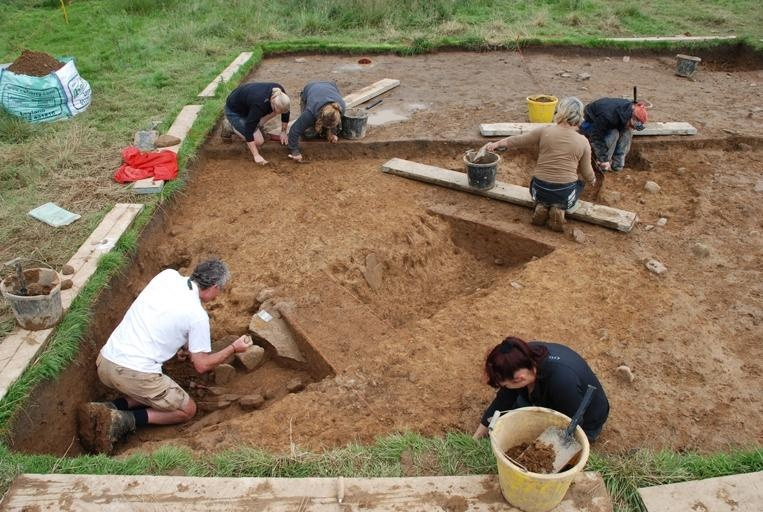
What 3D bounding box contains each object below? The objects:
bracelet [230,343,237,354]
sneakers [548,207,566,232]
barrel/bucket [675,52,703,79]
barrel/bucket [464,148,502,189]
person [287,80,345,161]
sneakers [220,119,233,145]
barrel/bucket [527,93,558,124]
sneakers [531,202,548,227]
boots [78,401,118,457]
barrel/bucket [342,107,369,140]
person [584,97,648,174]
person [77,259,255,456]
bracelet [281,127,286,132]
[{"bbox_3d":[-1.621,1.016,6.457,0.068,0.084,0.064,-15,14,6],"label":"bracelet"},{"bbox_3d":[2.266,-0.469,7.632,0.197,0.319,0.169,2,13,29],"label":"sneakers"},{"bbox_3d":[6.033,-3.731,11.628,0.401,0.505,0.720,14,48,21],"label":"barrel/bucket"},{"bbox_3d":[1.362,-1.172,8.137,0.503,0.447,0.516,-5,36,3],"label":"barrel/bucket"},{"bbox_3d":[-1.006,-2.064,8.709,0.826,0.620,1.249,-7,50,-14],"label":"person"},{"bbox_3d":[-2.342,-1.872,8.909,0.163,0.189,0.435,0,75,-24],"label":"sneakers"},{"bbox_3d":[2.583,-2.332,9.590,0.560,0.419,0.563,-2,38,2],"label":"barrel/bucket"},{"bbox_3d":[2.086,-0.549,7.744,0.171,0.282,0.099,9,59,1],"label":"sneakers"},{"bbox_3d":[-2.936,1.844,6.289,0.330,0.371,0.517,-2,83,-8],"label":"boots"},{"bbox_3d":[-0.380,-2.044,9.141,0.428,0.429,0.457,0,47,0],"label":"barrel/bucket"},{"bbox_3d":[3.442,-1.859,8.818,0.765,1.060,1.001,-14,34,-27],"label":"person"},{"bbox_3d":[-2.450,1.075,6.342,2.024,1.514,0.860,-25,47,-18],"label":"person"},{"bbox_3d":[-1.491,-1.930,8.993,0.070,0.069,0.067,-4,31,28],"label":"bracelet"}]
